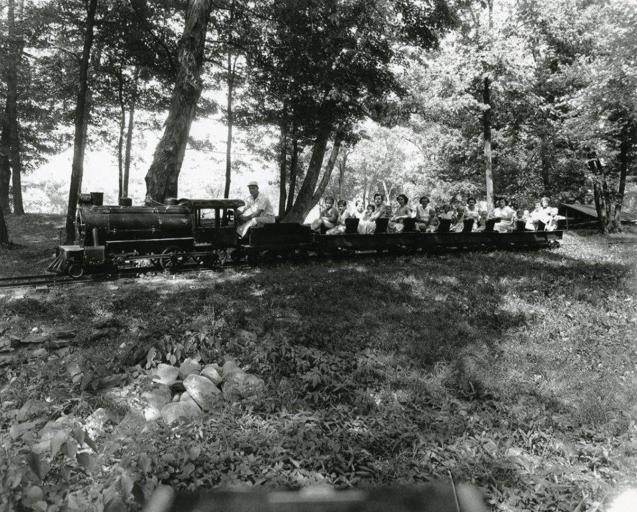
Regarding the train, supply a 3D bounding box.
[{"bbox_3d":[0.954,-1.053,17.954,17.611,2.715,2.424,-6,16,-23],"label":"train"}]
